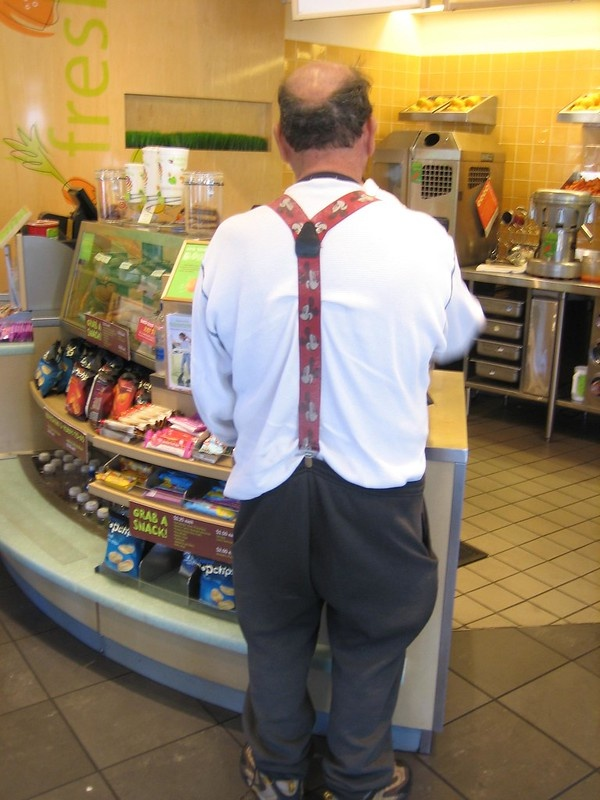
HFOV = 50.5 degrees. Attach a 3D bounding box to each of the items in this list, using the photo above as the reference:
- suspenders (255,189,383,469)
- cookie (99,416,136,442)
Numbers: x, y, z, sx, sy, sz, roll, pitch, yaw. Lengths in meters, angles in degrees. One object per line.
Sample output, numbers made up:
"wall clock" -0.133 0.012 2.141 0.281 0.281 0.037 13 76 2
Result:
"suspenders" 0.037 -0.123 1.070 0.173 0.431 0.116 0 14 5
"cookie" -0.576 0.089 2.009 0.078 0.028 0.098 9 6 7
